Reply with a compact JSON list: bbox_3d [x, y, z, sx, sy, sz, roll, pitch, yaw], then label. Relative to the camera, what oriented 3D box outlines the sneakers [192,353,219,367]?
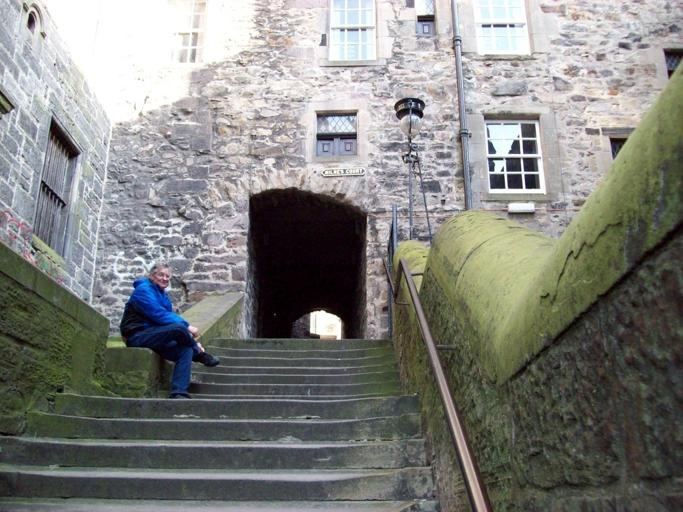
[{"bbox_3d":[-1.367,1.064,4.860,0.330,0.145,0.119,2,7,-15],"label":"sneakers"}]

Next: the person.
[{"bbox_3d":[-1.692,0.730,4.721,0.946,1.355,0.677,0,-21,-18],"label":"person"}]
